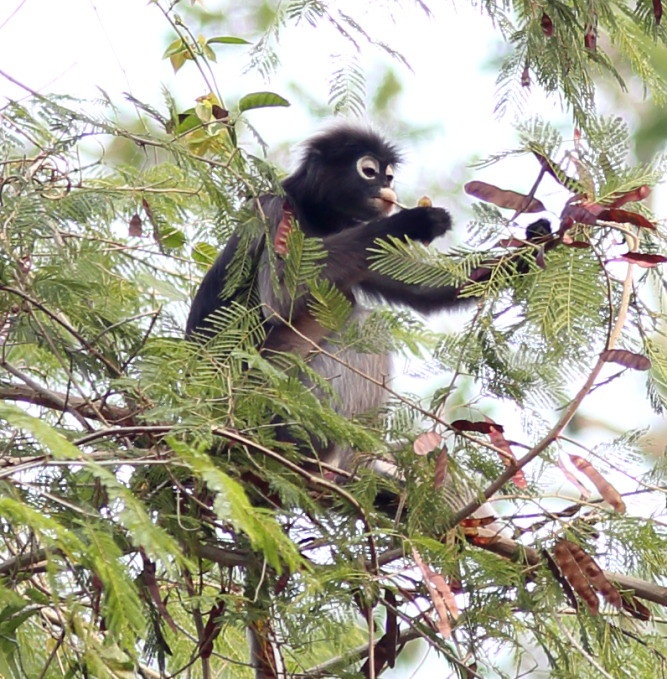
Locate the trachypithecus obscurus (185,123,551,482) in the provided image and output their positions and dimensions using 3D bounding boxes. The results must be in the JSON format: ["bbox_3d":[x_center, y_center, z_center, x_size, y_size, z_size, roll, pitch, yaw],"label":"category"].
[{"bbox_3d":[0.079,-0.188,3.245,0.874,0.649,0.835,2,-69,-18],"label":"trachypithecus obscurus"}]
